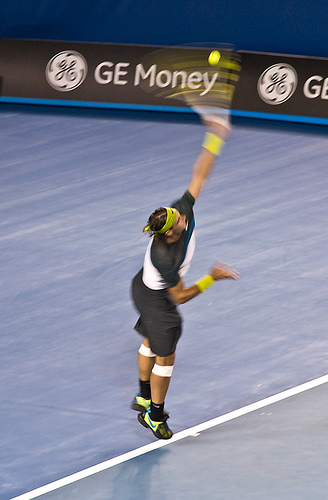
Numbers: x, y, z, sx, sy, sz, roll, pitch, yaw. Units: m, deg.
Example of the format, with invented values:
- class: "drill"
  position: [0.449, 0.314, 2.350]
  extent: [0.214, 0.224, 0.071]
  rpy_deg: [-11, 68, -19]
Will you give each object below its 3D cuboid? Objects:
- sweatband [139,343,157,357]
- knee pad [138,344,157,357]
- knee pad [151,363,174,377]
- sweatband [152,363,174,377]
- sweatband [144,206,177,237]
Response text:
- class: "sweatband"
  position: [-0.098, 0.591, 2.934]
  extent: [0.070, 0.076, 0.078]
  rpy_deg: [-23, -20, 31]
- class: "knee pad"
  position: [-0.105, 0.596, 2.951]
  extent: [0.075, 0.083, 0.070]
  rpy_deg: [-28, -3, 22]
- class: "knee pad"
  position: [-0.010, 0.651, 2.734]
  extent: [0.090, 0.060, 0.081]
  rpy_deg: [5, 11, 23]
- class: "sweatband"
  position: [-0.003, 0.663, 2.728]
  extent: [0.080, 0.055, 0.077]
  rpy_deg: [10, -14, -34]
- class: "sweatband"
  position: [-0.011, -0.142, 2.487]
  extent: [0.131, 0.139, 0.059]
  rpy_deg: [12, 7, 28]
